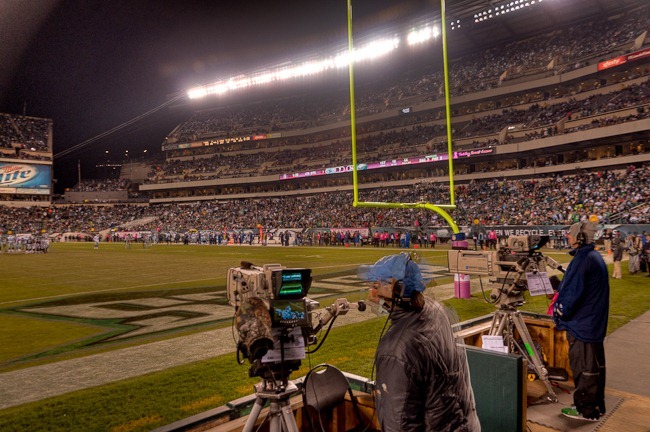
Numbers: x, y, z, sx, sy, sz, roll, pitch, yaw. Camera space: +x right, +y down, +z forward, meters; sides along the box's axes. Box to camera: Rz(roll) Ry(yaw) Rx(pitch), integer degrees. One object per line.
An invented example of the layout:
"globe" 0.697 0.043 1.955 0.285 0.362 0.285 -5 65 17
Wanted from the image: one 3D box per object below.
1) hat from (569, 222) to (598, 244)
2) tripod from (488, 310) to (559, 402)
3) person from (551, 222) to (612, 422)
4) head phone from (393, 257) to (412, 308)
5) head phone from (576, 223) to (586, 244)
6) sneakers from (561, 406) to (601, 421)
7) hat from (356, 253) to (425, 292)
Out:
"hat" 5.068 0.328 9.198 0.378 0.488 0.481 5 1 -36
"tripod" 3.933 2.749 9.454 1.325 1.768 0.701 0 -3 -1
"person" 4.901 1.951 8.933 0.935 3.677 0.448 -2 -4 22
"head phone" 1.164 1.037 7.035 0.141 0.543 0.385 6 11 20
"head phone" 4.948 0.351 9.029 0.254 0.347 0.165 -2 3 -38
"sneakers" 4.779 3.711 8.757 0.670 0.177 0.247 -2 -4 24
"hat" 1.017 0.819 7.159 0.695 0.360 0.681 15 -6 -36
